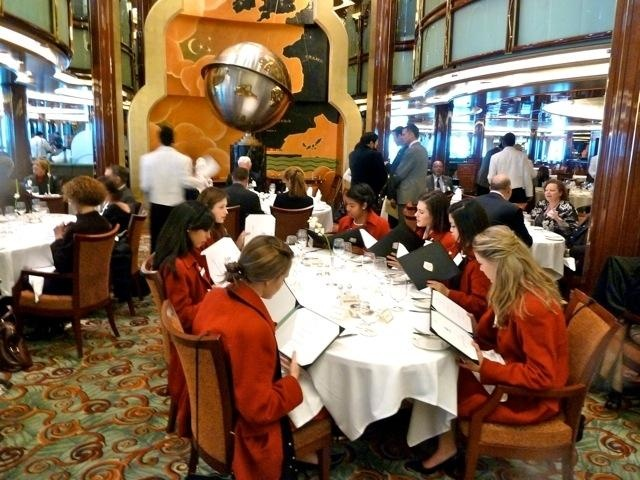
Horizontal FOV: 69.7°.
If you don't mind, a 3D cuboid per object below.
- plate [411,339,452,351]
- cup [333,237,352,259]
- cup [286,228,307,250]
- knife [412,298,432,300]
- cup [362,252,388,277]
[{"bbox_3d":[0.592,0.568,2.457,0.181,0.027,0.091,-2,12,-12],"label":"plate"},{"bbox_3d":[0.188,0.080,3.714,0.158,0.252,0.156,0,9,0],"label":"cup"},{"bbox_3d":[-0.211,-0.001,4.001,0.166,0.269,0.165,0,14,0],"label":"cup"},{"bbox_3d":[0.666,0.391,3.030,0.116,0.007,0.065,1,12,1],"label":"knife"},{"bbox_3d":[0.404,0.177,3.416,0.168,0.183,0.173,0,5,0],"label":"cup"}]
